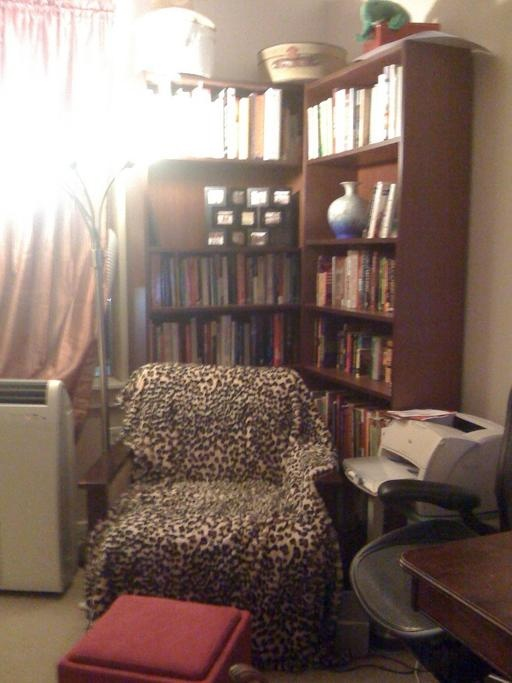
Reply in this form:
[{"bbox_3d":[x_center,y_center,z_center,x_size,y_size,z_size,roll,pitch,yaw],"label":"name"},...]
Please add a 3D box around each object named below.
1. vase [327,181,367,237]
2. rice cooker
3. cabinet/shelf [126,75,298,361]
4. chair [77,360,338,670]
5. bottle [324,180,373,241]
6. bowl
[{"bbox_3d":[0.386,-0.553,2.617,0.216,0.263,0.215,0,-4,10],"label":"vase"},{"bbox_3d":[-0.310,-1.149,2.321,0.303,0.239,0.121,-1,7,-7],"label":"rice cooker"},{"bbox_3d":[-0.175,-0.519,2.844,0.827,1.309,0.404,-3,8,-19],"label":"cabinet/shelf"},{"bbox_3d":[-0.103,0.532,2.200,0.829,0.857,0.874,0,3,2],"label":"chair"},{"bbox_3d":[0.391,-0.550,2.528,0.173,0.244,0.124,-4,13,-16],"label":"bottle"},{"bbox_3d":[0.214,-1.197,2.695,0.384,0.180,0.297,-2,14,-8],"label":"bowl"}]
